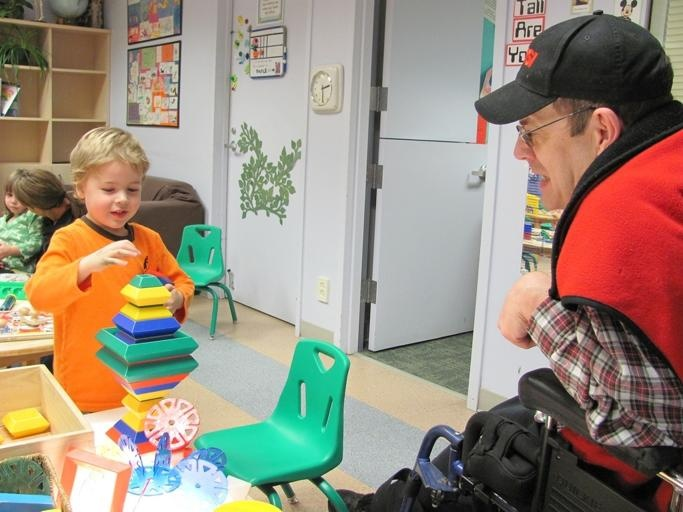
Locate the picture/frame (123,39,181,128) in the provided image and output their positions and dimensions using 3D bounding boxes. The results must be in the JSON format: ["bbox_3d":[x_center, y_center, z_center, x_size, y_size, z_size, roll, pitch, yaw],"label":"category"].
[{"bbox_3d":[-2.036,-1.852,5.151,0.869,0.881,0.014,8,8,31],"label":"picture/frame"}]

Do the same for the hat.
[{"bbox_3d":[0.403,-0.338,0.885,0.277,0.155,0.196,6,31,16],"label":"hat"}]

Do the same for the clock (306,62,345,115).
[{"bbox_3d":[-0.112,-1.199,3.444,0.074,0.329,0.318,-8,16,-42],"label":"clock"}]

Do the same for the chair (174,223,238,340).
[{"bbox_3d":[-1.258,0.228,4.113,0.593,0.869,0.600,14,-31,-42],"label":"chair"}]
